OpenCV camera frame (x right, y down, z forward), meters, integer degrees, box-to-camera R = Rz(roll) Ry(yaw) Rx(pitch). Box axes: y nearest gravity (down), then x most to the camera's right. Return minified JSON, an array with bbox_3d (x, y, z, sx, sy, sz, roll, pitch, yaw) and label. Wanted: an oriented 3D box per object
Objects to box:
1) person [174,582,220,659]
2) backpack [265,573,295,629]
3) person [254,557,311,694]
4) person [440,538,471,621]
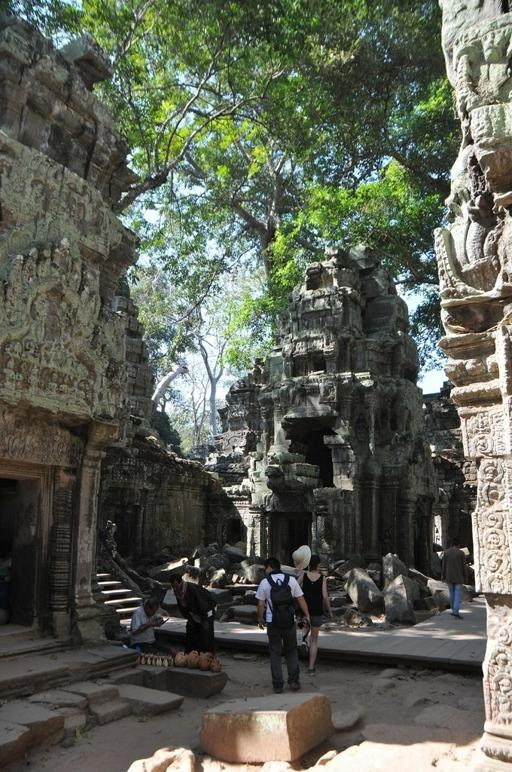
[{"bbox_3d":[-0.604,2.240,6.072,0.379,0.720,0.463,-2,-11,0],"label":"person"},{"bbox_3d":[0.209,1.853,5.343,0.205,0.432,0.158,-2,-11,-1],"label":"backpack"},{"bbox_3d":[0.248,2.076,5.417,0.454,1.098,0.366,-1,-12,-9],"label":"person"},{"bbox_3d":[2.883,2.781,8.966,0.349,1.073,1.371,-5,-11,15],"label":"person"}]
